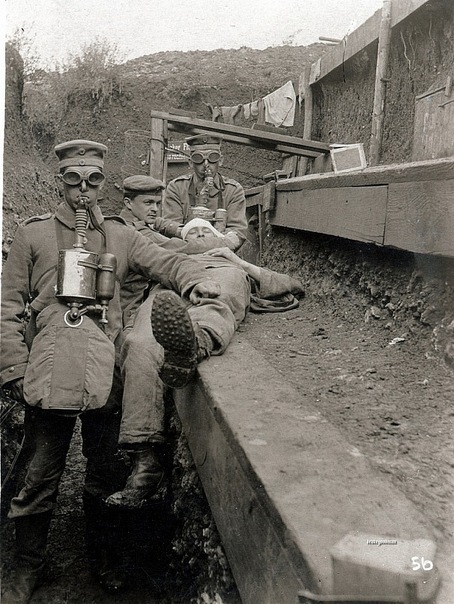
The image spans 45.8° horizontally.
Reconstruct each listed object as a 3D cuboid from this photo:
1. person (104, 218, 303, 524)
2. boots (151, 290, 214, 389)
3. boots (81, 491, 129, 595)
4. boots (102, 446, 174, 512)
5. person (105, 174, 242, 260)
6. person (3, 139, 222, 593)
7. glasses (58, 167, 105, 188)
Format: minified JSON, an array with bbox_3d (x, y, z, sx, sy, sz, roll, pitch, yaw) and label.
[{"bbox_3d":[-0.115,0.046,2.832,0.694,0.493,1.589,-7,36,23],"label":"person"},{"bbox_3d":[-0.196,0.132,2.036,0.150,0.471,0.220,-13,18,-5],"label":"boots"},{"bbox_3d":[-0.596,1.175,2.645,0.145,0.504,0.207,-6,-19,-3],"label":"boots"},{"bbox_3d":[-0.373,0.787,2.454,0.162,0.339,0.437,-4,-5,33],"label":"boots"},{"bbox_3d":[-0.407,-0.664,4.252,0.802,0.615,1.427,-2,15,-7],"label":"person"},{"bbox_3d":[-0.646,0.291,2.505,0.590,2.039,0.899,8,11,40],"label":"person"},{"bbox_3d":[-0.653,-0.557,2.412,0.123,0.064,0.142,-4,7,-16],"label":"glasses"}]
